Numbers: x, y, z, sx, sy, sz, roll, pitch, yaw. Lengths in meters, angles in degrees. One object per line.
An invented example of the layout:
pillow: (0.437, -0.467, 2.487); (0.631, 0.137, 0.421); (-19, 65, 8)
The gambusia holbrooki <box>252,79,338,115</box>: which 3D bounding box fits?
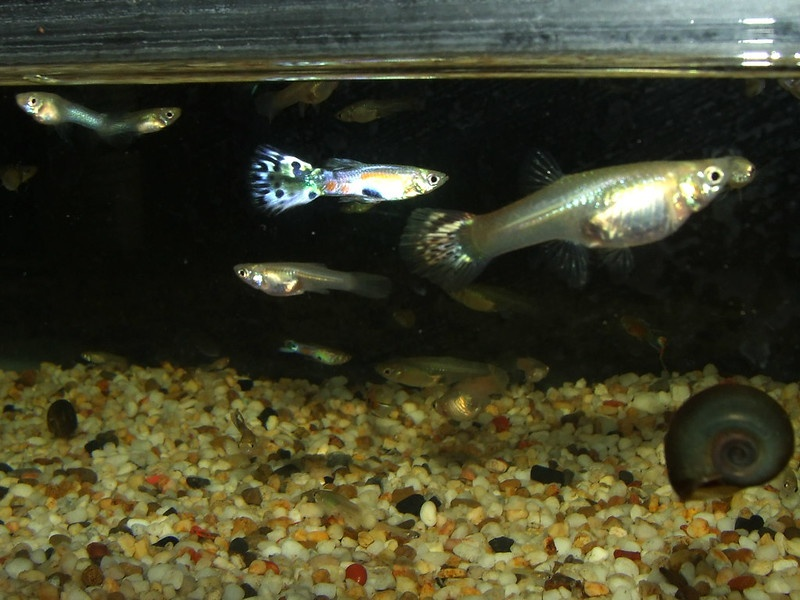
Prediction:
gambusia holbrooki: (-0.727, -1.421, 5.803); (0.733, 0.223, 0.128); (-7, 22, 20)
